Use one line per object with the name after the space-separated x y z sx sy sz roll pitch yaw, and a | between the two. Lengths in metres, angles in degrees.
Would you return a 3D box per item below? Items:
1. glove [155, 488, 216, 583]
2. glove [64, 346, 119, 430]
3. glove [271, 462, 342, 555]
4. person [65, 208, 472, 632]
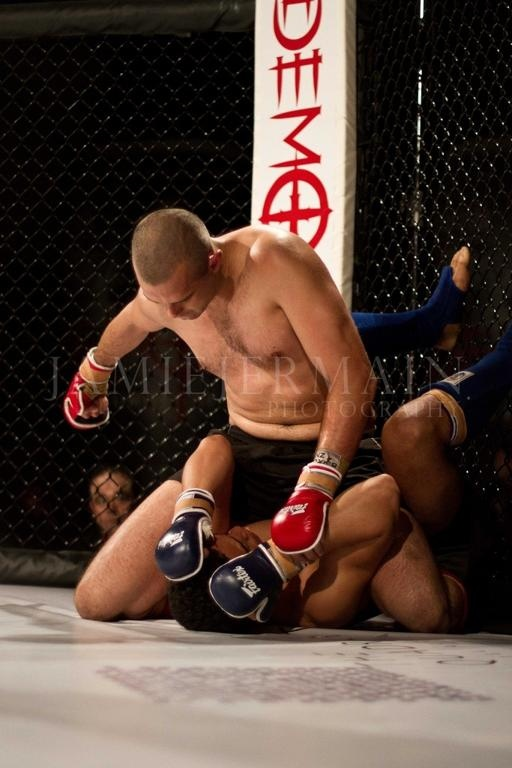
-0.115 0.231 1.087 0.090 0.066 0.169 1 36 8 | glove
-0.421 0.003 1.708 0.094 0.109 0.258 19 21 -22 | glove
0.083 0.194 1.056 0.073 0.055 0.169 22 41 16 | glove
0.115 0.042 1.489 0.667 0.547 0.898 1 3 27 | person
